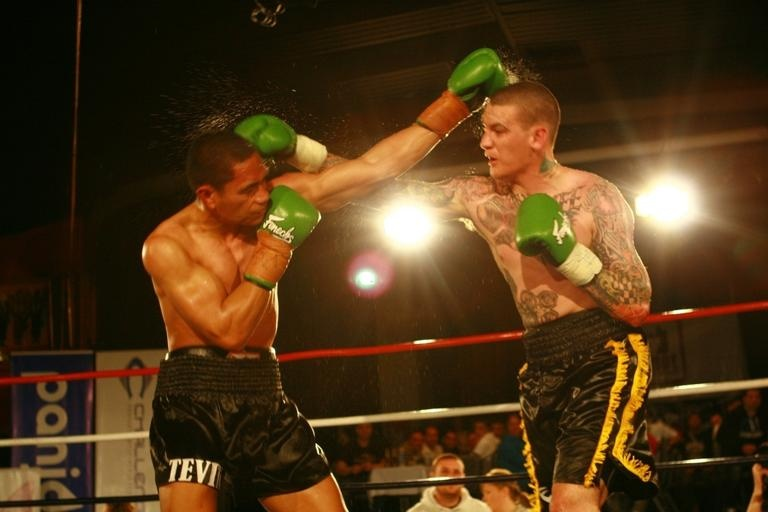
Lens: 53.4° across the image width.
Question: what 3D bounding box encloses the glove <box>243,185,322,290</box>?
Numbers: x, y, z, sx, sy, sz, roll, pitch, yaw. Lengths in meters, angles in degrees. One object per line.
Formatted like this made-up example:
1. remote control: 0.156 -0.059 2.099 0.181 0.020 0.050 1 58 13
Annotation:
1. glove: -0.647 -0.123 4.812 0.395 0.641 0.230 28 2 -7

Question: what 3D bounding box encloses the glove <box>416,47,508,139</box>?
1. glove: 0.495 -1.023 4.788 0.430 0.649 0.252 30 -5 10

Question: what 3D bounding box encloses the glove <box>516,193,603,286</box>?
1. glove: 1.063 -0.073 4.663 0.588 0.424 0.237 37 -13 3

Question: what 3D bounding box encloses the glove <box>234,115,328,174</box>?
1. glove: -0.632 -0.701 4.721 0.297 0.183 0.502 51 16 25
